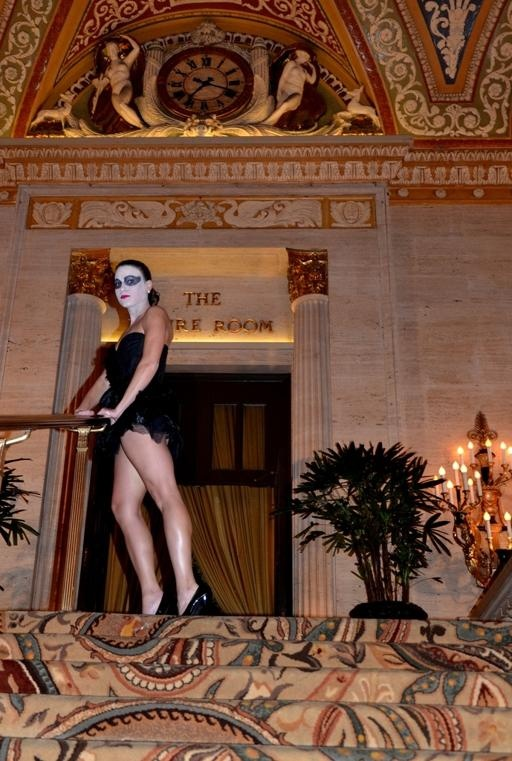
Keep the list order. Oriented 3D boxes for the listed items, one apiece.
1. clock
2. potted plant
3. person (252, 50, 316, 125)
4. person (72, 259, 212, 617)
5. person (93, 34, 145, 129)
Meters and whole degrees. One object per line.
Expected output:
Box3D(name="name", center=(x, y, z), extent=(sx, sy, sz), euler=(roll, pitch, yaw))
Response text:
Box3D(name="clock", center=(-0.582, -3.586, 8.616), extent=(1.211, 1.048, 0.233), euler=(6, -27, 7))
Box3D(name="potted plant", center=(0.819, 0.998, 5.047), extent=(1.021, 1.299, 1.910), euler=(-1, -16, 11))
Box3D(name="person", center=(0.368, -3.627, 8.492), extent=(0.517, 1.312, 0.405), euler=(-7, -43, 25))
Box3D(name="person", center=(-0.600, 0.209, 3.580), extent=(0.726, 1.965, 0.648), euler=(12, -20, -27))
Box3D(name="person", center=(-1.715, -3.699, 8.518), extent=(0.785, 1.389, 0.220), euler=(-2, -18, 13))
